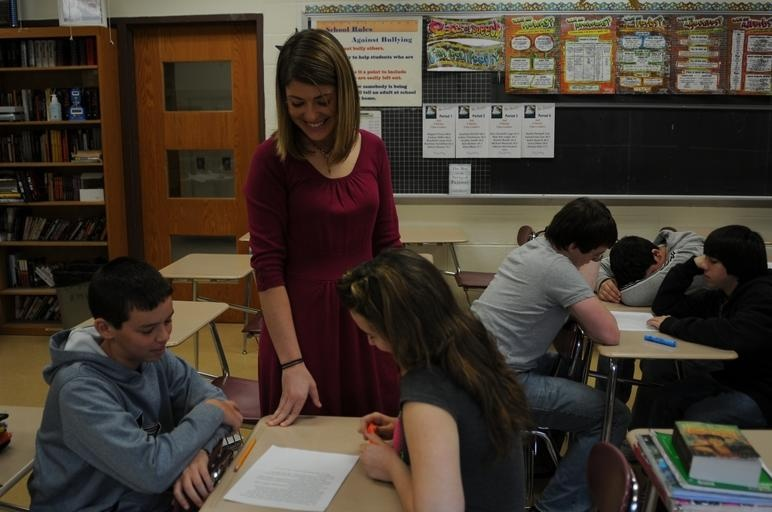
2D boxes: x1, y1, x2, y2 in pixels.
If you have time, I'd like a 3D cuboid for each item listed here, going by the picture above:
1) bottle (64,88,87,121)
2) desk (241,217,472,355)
[{"bbox_3d":[-2.681,-1.299,4.899,0.198,0.286,0.133,-2,7,-3],"label":"bottle"},{"bbox_3d":[0.144,0.200,4.962,1.209,1.131,0.936,0,7,2],"label":"desk"}]
